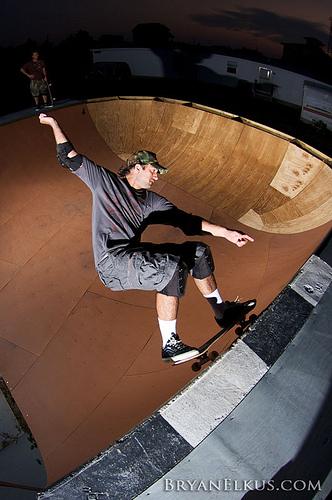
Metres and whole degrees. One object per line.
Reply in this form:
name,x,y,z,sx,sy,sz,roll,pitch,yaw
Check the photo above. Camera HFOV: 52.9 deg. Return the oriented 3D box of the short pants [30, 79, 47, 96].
short pants,-3.224,-4.094,8.406,0.417,0.320,0.397,-14,40,-10
